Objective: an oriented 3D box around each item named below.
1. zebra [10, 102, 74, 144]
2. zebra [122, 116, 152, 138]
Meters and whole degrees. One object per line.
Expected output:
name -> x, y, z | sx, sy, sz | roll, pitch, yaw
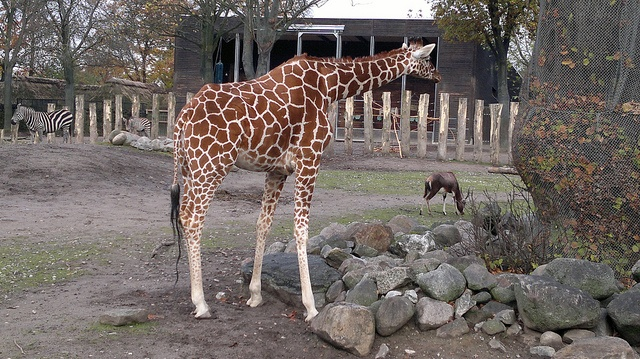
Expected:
zebra -> -12.644, -2.468, 25.847 | 0.781, 1.695, 2.695 | 4, 7, 41
zebra -> -8.959, -2.594, 27.803 | 0.953, 0.897, 1.799 | 3, 6, -8
